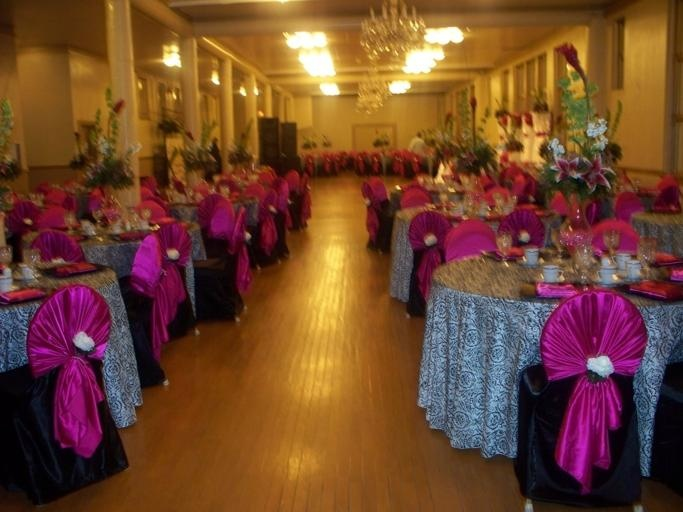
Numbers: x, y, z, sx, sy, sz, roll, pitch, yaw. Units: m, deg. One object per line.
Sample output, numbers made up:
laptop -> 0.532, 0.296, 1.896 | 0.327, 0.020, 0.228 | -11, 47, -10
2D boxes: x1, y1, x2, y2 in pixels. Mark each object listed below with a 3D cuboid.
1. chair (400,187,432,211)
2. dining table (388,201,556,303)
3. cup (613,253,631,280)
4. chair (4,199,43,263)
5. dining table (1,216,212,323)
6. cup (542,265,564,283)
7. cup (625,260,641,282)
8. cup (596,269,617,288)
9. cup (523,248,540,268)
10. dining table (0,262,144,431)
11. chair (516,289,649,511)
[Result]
chair -> 0.910, -0.738, 6.235 | 0.274, 0.349, 0.304 | -6, 19, 7
dining table -> 1.015, -0.041, 3.949 | 0.821, 0.594, 0.944 | 0, 5, 2
cup -> 1.611, 0.061, 2.864 | 0.092, 0.118, 0.128 | -2, 8, -3
chair -> -3.275, -0.254, 5.109 | 0.260, 0.687, 0.603 | 1, -21, -40
dining table -> -1.825, 0.002, 4.705 | 1.050, 0.757, 1.201 | 1, 3, 1
cup -> 1.166, 0.096, 2.766 | 0.093, 0.096, 0.106 | -5, 5, -31
cup -> 1.611, 0.073, 2.784 | 0.083, 0.112, 0.092 | -3, 14, 19
cup -> 1.444, 0.115, 2.696 | 0.086, 0.050, 0.099 | -5, 14, 6
cup -> 1.201, 0.005, 3.179 | 0.088, 0.123, 0.099 | 10, 18, 34
dining table -> -1.577, 0.595, 3.134 | 0.755, 0.904, 0.798 | -3, 9, -27
chair -> 1.117, 0.690, 2.285 | 0.576, 1.164, 0.330 | 4, 12, 22
